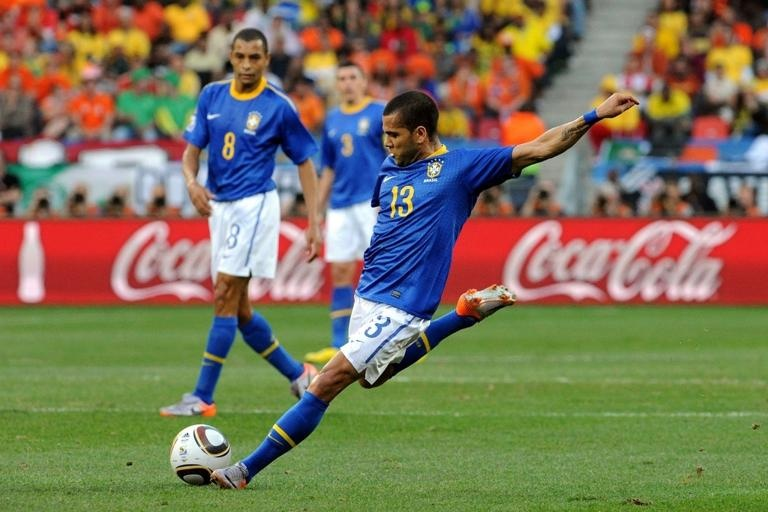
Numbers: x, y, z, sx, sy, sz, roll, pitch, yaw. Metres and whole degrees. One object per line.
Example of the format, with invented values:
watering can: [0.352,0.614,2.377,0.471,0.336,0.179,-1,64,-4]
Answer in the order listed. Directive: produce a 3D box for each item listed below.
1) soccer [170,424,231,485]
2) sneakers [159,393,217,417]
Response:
soccer: [-1.645,1.814,11.917,0.562,0.513,0.506,-13,-19,-5]
sneakers: [-1.942,1.518,13.176,0.659,0.253,0.210,3,-8,-1]
